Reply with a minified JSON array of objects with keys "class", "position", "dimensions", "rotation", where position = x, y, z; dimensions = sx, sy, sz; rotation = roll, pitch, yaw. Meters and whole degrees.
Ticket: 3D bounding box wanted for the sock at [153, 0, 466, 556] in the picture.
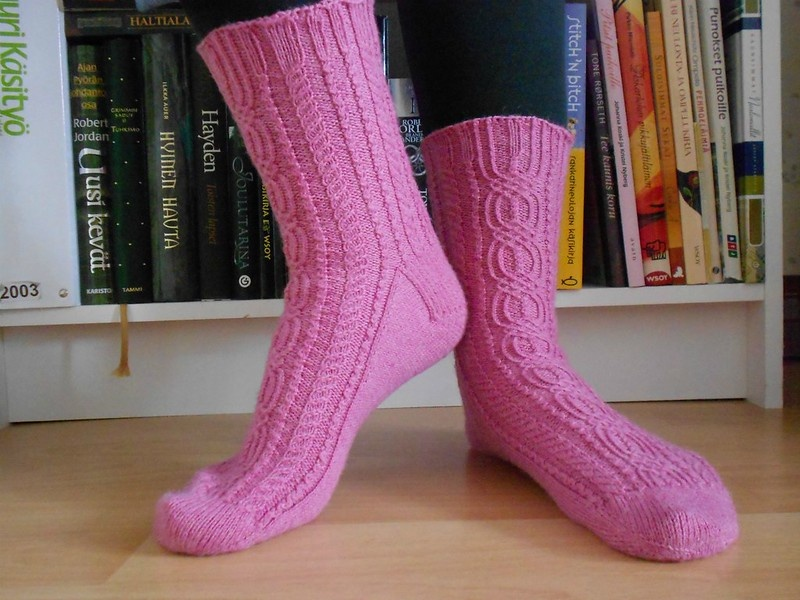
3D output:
[{"class":"sock","position":[-0.125,-0.048,0.900],"dimensions":[0.395,0.590,0.169],"rotation":[-11,16,-37]}]
